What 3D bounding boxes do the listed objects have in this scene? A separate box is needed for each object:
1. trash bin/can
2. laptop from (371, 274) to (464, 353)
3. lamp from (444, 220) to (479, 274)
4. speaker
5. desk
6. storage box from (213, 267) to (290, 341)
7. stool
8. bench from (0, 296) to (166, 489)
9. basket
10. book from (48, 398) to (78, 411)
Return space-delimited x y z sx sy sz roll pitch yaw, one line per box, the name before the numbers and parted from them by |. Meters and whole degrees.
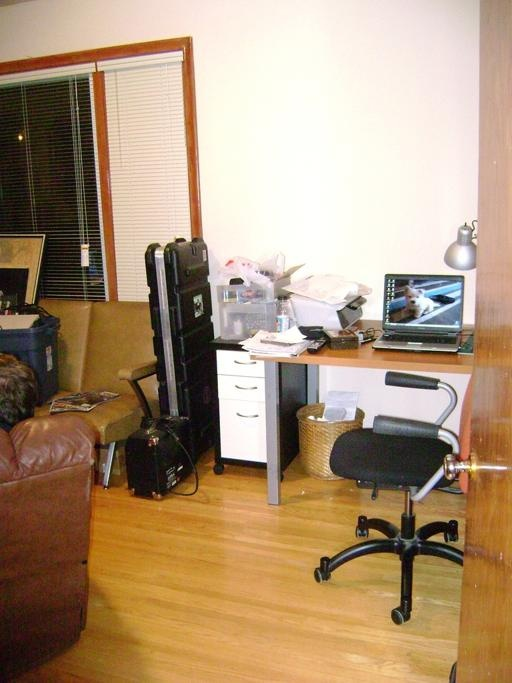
trash bin/can | 0.369 0.550 3.180 0.388 0.325 0.358 7 13 25
laptop | 0.766 -0.137 2.647 0.471 0.366 0.387 4 20 21
lamp | 0.941 -0.431 2.583 0.132 0.212 0.160 -3 11 -2
speaker | -0.507 0.627 3.057 0.229 0.387 0.374 3 12 26
desk | 0.541 0.280 2.820 1.074 0.759 0.843 3 11 22
storage box | -0.018 -0.242 3.210 0.477 0.500 0.380 6 20 16
stool | 0.462 0.556 2.054 0.551 0.859 0.851 2 12 21
bench | -0.967 0.244 3.528 0.934 1.166 0.972 0 8 7
basket | 0.367 0.542 3.101 0.386 0.322 0.357 7 13 25
book | -1.084 0.362 3.163 0.102 0.039 0.081 2 13 6
